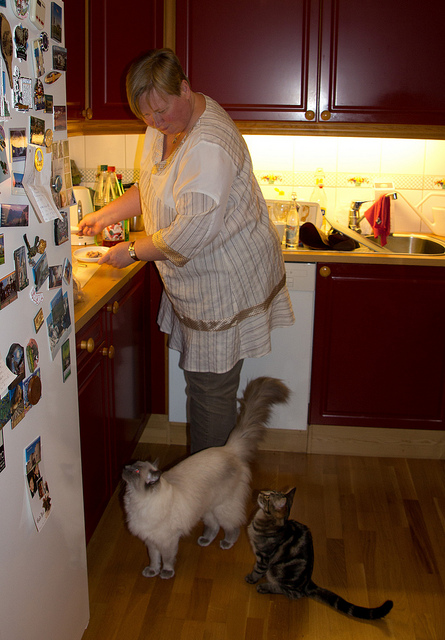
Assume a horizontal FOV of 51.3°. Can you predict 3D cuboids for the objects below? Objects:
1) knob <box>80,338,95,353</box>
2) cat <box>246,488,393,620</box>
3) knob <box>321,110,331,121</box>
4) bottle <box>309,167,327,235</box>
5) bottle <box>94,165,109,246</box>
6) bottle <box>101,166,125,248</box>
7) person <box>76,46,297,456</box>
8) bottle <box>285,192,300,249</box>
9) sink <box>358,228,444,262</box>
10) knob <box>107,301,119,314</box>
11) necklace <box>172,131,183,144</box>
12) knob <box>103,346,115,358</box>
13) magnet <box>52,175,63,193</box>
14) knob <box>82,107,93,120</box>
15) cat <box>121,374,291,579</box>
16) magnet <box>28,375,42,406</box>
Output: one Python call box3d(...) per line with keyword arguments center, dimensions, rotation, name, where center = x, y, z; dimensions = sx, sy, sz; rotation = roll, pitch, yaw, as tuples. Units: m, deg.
box3d(center=(-0.349, 0.066, 1.201), dimensions=(0.021, 0.030, 0.029), rotation=(4, 34, 1), name="knob")
box3d(center=(0.267, 0.733, 1.418), dimensions=(0.433, 0.345, 0.144), rotation=(22, 24, 24), name="cat")
box3d(center=(0.458, -0.913, 2.062), dimensions=(0.043, 0.039, 0.013), rotation=(-3, 12, -14), name="knob")
box3d(center=(0.493, -0.612, 2.335), dimensions=(0.096, 0.318, 0.232), rotation=(1, 12, 4), name="bottle")
box3d(center=(-0.524, -0.546, 2.101), dimensions=(0.072, 0.314, 0.086), rotation=(2, 9, 16), name="bottle")
box3d(center=(-0.466, -0.482, 1.971), dimensions=(0.099, 0.355, 0.109), rotation=(0, 14, -2), name="bottle")
box3d(center=(-0.093, -0.101, 1.530), dimensions=(0.442, 1.299, 0.623), rotation=(6, 13, 26), name="person")
box3d(center=(0.314, -0.446, 2.088), dimensions=(0.062, 0.234, 0.150), rotation=(2, 12, 8), name="bottle")
box3d(center=(0.843, -0.365, 2.189), dimensions=(0.394, 0.118, 0.588), rotation=(4, 14, 14), name="sink")
box3d(center=(-0.342, -0.040, 1.458), dimensions=(0.025, 0.054, 0.050), rotation=(-1, 1, 5), name="knob")
box3d(center=(-0.134, -0.542, 1.375), dimensions=(0.007, 0.032, 0.029), rotation=(26, -11, -9), name="necklace")
box3d(center=(-0.350, 0.099, 1.433), dimensions=(0.023, 0.049, 0.046), rotation=(0, 7, 9), name="knob")
box3d(center=(-0.283, -0.237, 0.802), dimensions=(0.005, 0.021, 0.023), rotation=(-3, -7, -11), name="magnet")
box3d(center=(-0.616, -0.945, 2.116), dimensions=(0.035, 0.055, 0.050), rotation=(-3, 2, 28), name="knob")
box3d(center=(-0.036, 0.520, 1.550), dimensions=(0.612, 0.528, 0.206), rotation=(-13, 18, -36), name="cat")
box3d(center=(-0.290, 0.112, 0.722), dimensions=(0.007, 0.036, 0.034), rotation=(5, 2, 16), name="magnet")
